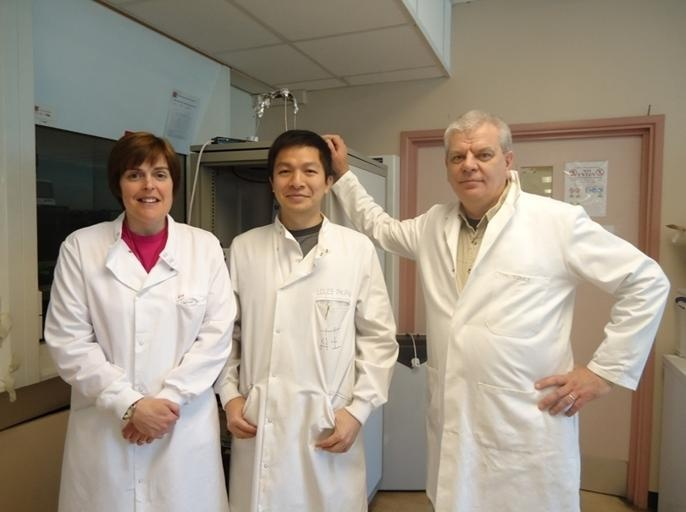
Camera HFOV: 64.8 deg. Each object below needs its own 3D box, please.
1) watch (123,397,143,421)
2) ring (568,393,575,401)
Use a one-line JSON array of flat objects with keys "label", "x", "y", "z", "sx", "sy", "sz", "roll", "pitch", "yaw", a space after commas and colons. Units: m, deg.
[{"label": "watch", "x": -0.749, "y": 0.549, "z": 1.953, "sx": 0.044, "sy": 0.067, "sz": 0.071, "roll": 19, "pitch": -13, "yaw": 13}, {"label": "ring", "x": 0.893, "y": 0.539, "z": 2.102, "sx": 0.025, "sy": 0.030, "sz": 0.010, "roll": 3, "pitch": 5, "yaw": 1}]
